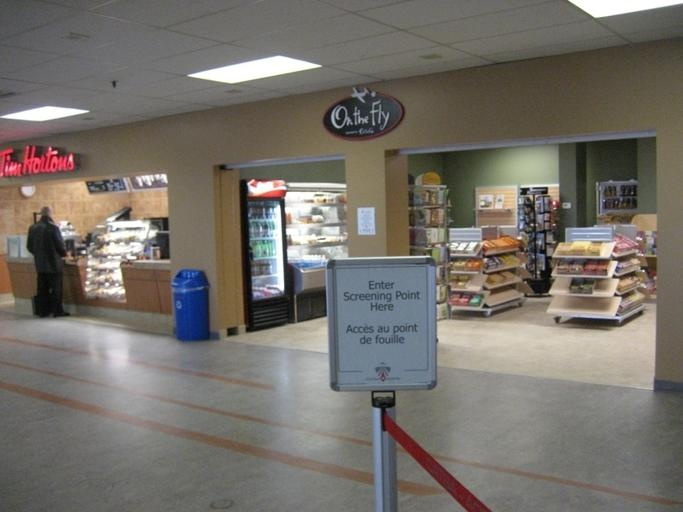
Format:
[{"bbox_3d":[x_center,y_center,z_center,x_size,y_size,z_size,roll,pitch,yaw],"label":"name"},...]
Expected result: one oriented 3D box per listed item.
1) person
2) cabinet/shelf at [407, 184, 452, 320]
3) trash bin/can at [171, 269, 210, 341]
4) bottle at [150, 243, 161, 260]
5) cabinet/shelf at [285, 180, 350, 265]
[{"bbox_3d":[-6.241,0.124,11.145,0.683,2.328,0.472,-4,6,-24],"label":"person"},{"bbox_3d":[1.438,-0.360,8.517,0.702,1.530,0.480,1,-31,10],"label":"cabinet/shelf"},{"bbox_3d":[-2.534,0.803,8.816,0.581,1.158,0.425,1,6,31],"label":"trash bin/can"},{"bbox_3d":[-3.736,-0.071,10.550,0.187,0.243,0.215,-2,5,0],"label":"bottle"},{"bbox_3d":[-0.264,-0.619,10.809,1.786,1.661,0.589,-2,0,34],"label":"cabinet/shelf"}]
